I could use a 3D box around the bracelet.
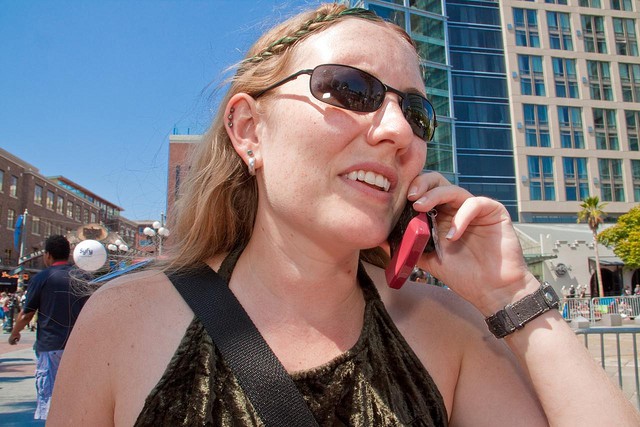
[{"bbox_3d":[1.111,0.525,2.614,0.290,0.091,0.293,-26,-10,-24],"label":"bracelet"}]
